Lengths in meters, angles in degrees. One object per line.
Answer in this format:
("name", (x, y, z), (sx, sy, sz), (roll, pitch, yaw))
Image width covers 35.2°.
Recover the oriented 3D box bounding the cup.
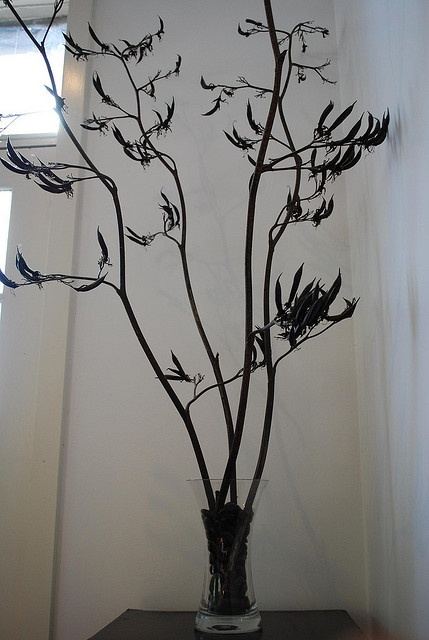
("cup", (0.024, 0.433, 1.232), (0.140, 0.403, 0.181), (1, -18, -6))
